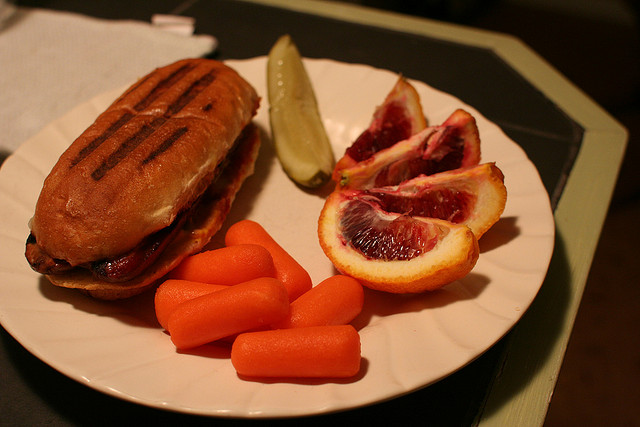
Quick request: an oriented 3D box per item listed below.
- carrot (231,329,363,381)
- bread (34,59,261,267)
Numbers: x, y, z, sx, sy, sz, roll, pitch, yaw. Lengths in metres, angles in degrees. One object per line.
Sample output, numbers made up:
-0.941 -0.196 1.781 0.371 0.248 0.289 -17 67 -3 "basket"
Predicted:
-0.088 0.586 2.316 0.544 0.120 0.197 0 72 -6 "carrot"
-0.828 -0.261 2.787 0.636 0.354 1.181 37 52 0 "bread"
